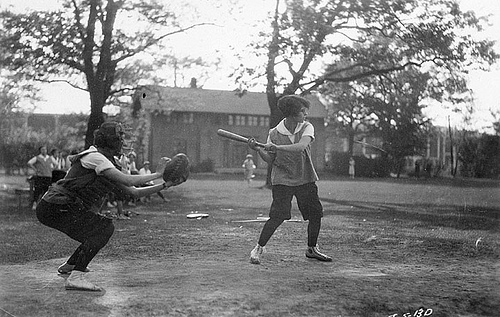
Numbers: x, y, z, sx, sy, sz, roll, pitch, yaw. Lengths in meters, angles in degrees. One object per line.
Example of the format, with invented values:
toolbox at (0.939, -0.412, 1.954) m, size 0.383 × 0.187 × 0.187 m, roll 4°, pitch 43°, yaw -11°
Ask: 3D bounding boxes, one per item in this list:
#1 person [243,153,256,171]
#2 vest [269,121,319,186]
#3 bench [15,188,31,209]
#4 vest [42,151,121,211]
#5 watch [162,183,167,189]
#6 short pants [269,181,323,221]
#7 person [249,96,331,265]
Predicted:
person at (-0.067, 0.186, 25.675) m, size 0.815 × 1.125 × 0.485 m, roll -2°, pitch 7°, yaw -3°
vest at (0.741, -0.083, 9.217) m, size 0.845 × 0.849 × 0.336 m, roll 3°, pitch 1°, yaw 1°
bench at (-7.030, 1.252, 16.812) m, size 0.622 × 0.569 × 0.609 m, roll 2°, pitch 0°, yaw -11°
vest at (-2.491, 0.321, 7.962) m, size 1.030 × 0.865 × 0.236 m, roll 3°, pitch 1°, yaw -1°
watch at (-1.237, 0.401, 7.859) m, size 0.056 × 0.085 × 0.053 m, roll -1°, pitch -3°, yaw 1°
short pants at (0.788, 0.731, 9.191) m, size 0.881 × 0.525 × 0.314 m, roll 3°, pitch 1°, yaw 0°
person at (0.723, 0.357, 9.262) m, size 1.190 × 2.250 × 0.765 m, roll 3°, pitch 1°, yaw 8°
